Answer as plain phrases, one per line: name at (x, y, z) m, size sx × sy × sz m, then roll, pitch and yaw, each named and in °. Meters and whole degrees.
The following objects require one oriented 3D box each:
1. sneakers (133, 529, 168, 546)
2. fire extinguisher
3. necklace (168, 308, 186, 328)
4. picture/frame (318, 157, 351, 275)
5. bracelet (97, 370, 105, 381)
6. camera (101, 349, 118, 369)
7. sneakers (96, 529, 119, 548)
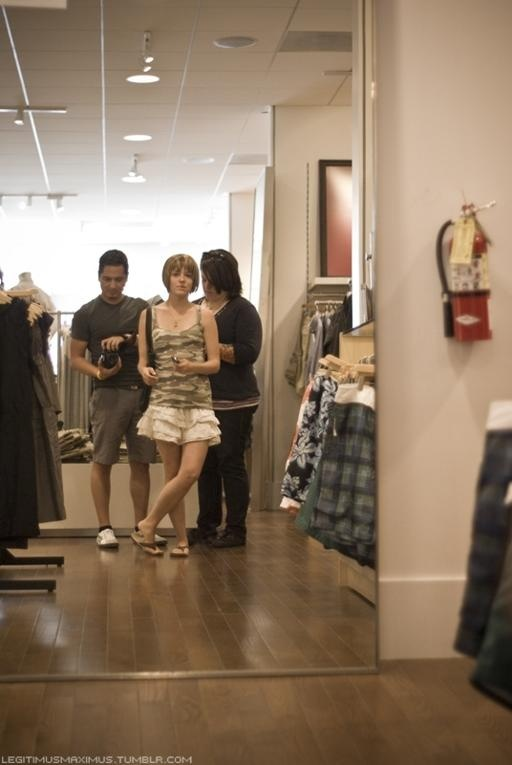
sneakers at (-0.500, 0.726, 2.645) m, size 0.138 × 0.056 × 0.050 m, roll 25°, pitch 17°, yaw 28°
fire extinguisher at (0.670, -0.358, 1.836) m, size 0.174 × 0.443 × 0.129 m, roll 0°, pitch -6°, yaw 15°
necklace at (-0.368, -0.306, 2.633) m, size 0.070 × 0.071 × 0.017 m, roll 11°, pitch 5°, yaw 5°
picture/frame at (0.360, -0.695, 2.440) m, size 0.014 × 0.474 × 0.266 m, roll 13°, pitch 24°, yaw 39°
bracelet at (-0.727, -0.034, 2.644) m, size 0.016 × 0.043 × 0.032 m, roll 4°, pitch 4°, yaw 45°
camera at (-0.684, -0.104, 2.662) m, size 0.060 × 0.083 × 0.085 m, roll 5°, pitch 6°, yaw -12°
sneakers at (-0.678, 0.710, 2.580) m, size 0.058 × 0.056 × 0.124 m, roll 3°, pitch -5°, yaw -23°
